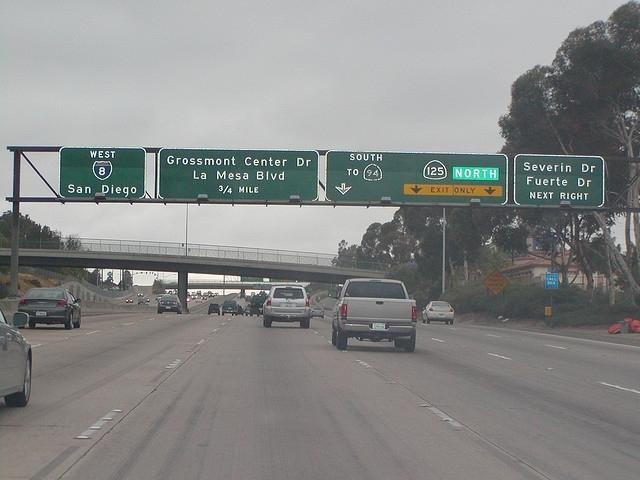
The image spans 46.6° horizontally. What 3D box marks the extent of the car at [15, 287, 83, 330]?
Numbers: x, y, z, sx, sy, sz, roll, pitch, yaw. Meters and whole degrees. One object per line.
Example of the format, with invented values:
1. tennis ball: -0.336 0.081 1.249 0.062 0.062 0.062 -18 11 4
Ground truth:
1. car: -12.591 3.147 34.782 2.382 2.637 6.348 0 -2 -15

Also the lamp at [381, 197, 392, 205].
1. lamp: 3.246 -1.884 36.342 0.520 0.361 0.311 1 -3 -12

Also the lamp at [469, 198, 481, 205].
1. lamp: 7.616 -1.842 36.652 0.453 0.402 0.343 0 -3 13

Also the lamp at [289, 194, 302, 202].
1. lamp: -1.192 -2.007 36.420 0.632 0.411 0.266 1 -3 -10

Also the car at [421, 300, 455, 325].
1. car: 9.084 5.634 57.085 1.630 1.683 3.224 1 -4 -16

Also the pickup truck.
1. pickup truck: 1.848 2.541 25.023 2.638 2.464 2.342 0 -3 3

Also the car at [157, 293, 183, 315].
1. car: -15.144 6.474 74.619 2.124 1.785 3.688 1 -4 -15

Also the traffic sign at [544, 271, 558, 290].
1. traffic sign: 14.349 2.534 46.035 0.726 0.960 2.719 0 -4 16

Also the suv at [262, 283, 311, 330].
1. suv: -1.740 3.513 38.743 2.302 2.291 1.439 1 -3 -14
